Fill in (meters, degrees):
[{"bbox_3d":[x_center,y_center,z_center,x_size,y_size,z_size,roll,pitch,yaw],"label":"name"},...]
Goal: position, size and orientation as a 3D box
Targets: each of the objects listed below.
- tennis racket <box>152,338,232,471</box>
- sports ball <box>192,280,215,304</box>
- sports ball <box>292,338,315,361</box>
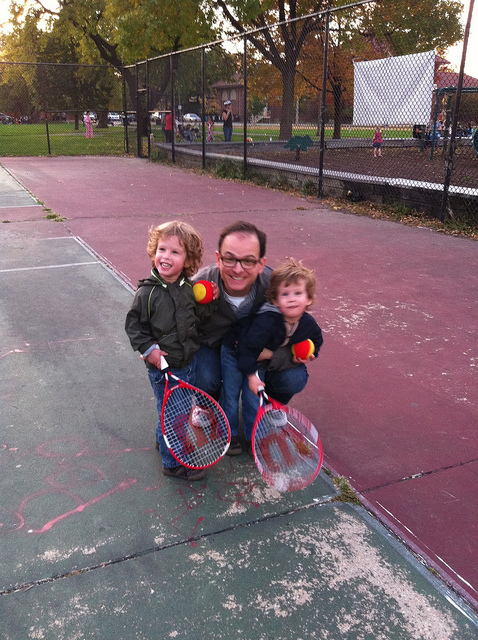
[{"bbox_3d":[-0.281,0.320,2.362,0.269,0.037,0.717,-31,60,-6],"label":"tennis racket"},{"bbox_3d":[-0.162,-0.126,2.473,0.105,0.095,0.089,2,-20,-44],"label":"sports ball"},{"bbox_3d":[0.298,0.129,2.541,0.088,0.108,0.095,8,44,-8],"label":"sports ball"}]
